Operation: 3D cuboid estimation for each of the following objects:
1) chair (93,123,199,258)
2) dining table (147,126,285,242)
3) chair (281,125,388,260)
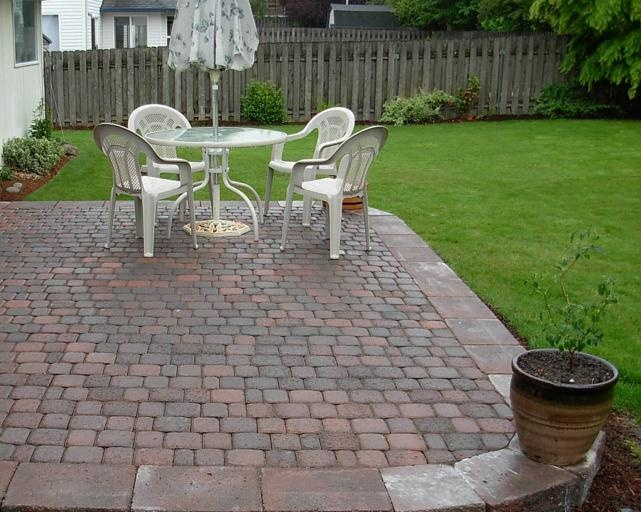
[{"bbox_3d":[-1.799,-0.717,5.014,0.937,1.307,0.719,-5,17,-21],"label":"chair"},{"bbox_3d":[-1.310,-0.932,5.977,1.932,1.229,1.843,12,20,21],"label":"dining table"},{"bbox_3d":[0.147,-0.719,5.135,1.050,1.363,0.686,3,16,6],"label":"chair"}]
